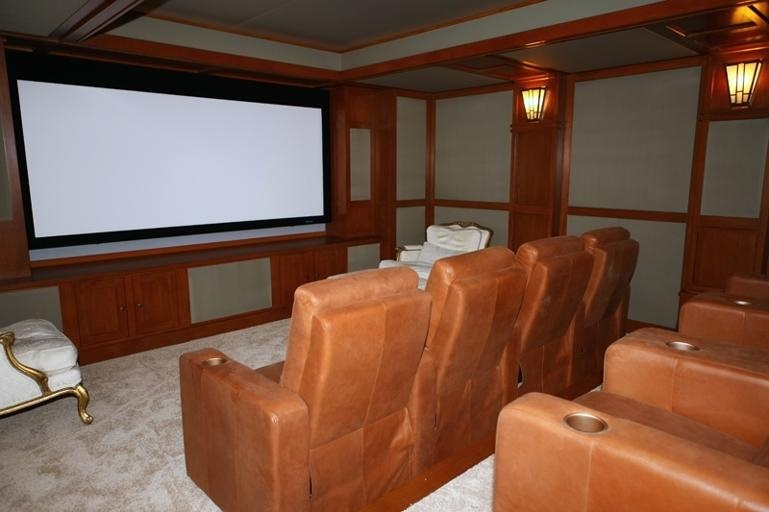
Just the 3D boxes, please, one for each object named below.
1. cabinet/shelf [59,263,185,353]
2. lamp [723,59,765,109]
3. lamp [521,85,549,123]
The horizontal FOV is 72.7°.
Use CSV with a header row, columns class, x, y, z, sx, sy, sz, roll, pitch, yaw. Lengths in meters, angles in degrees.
class,x,y,z,sx,sy,sz,roll,pitch,yaw
cabinet/shelf,-2.612,0.511,5.114,0.286,0.517,0.808,8,13,41
lamp,3.459,-1.663,5.084,0.257,0.426,0.082,5,15,31
lamp,1.795,-1.811,6.262,0.355,0.426,0.398,8,16,36
